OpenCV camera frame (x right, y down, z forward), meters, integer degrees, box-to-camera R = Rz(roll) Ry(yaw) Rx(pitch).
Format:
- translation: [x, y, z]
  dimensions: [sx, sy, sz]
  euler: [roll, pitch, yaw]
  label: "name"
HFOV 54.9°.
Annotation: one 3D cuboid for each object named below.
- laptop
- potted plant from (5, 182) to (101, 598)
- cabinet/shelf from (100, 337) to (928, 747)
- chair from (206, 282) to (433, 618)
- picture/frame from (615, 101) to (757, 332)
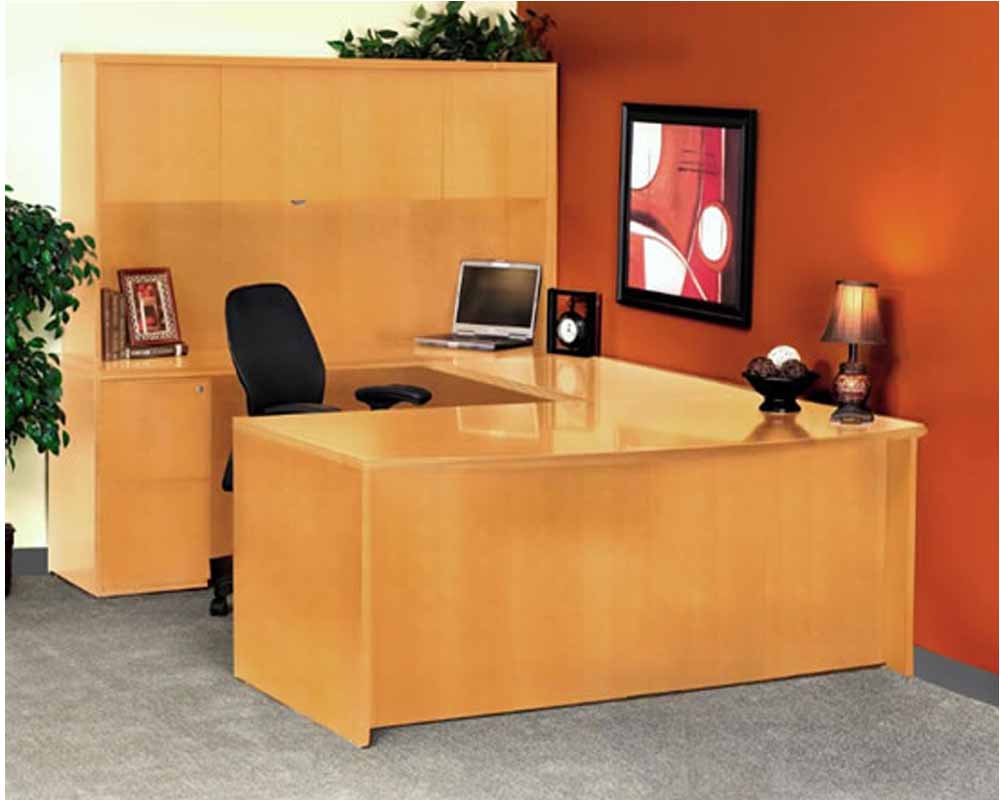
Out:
- translation: [-0.109, -0.519, 5.259]
  dimensions: [0.602, 0.460, 0.532]
  euler: [6, 9, 36]
  label: "laptop"
- translation: [-2.127, -0.030, 4.555]
  dimensions: [0.494, 1.892, 0.610]
  euler: [-3, 8, -23]
  label: "potted plant"
- translation: [0.269, 0.561, 3.615]
  dimensions: [2.371, 1.026, 1.128]
  euler: [-3, 8, -23]
  label: "cabinet/shelf"
- translation: [-0.747, 0.192, 4.130]
  dimensions: [0.830, 1.392, 0.902]
  euler: [-3, 7, -18]
  label: "chair"
- translation: [0.909, -0.889, 4.588]
  dimensions: [0.084, 1.187, 1.061]
  euler: [-3, 9, -32]
  label: "picture/frame"
